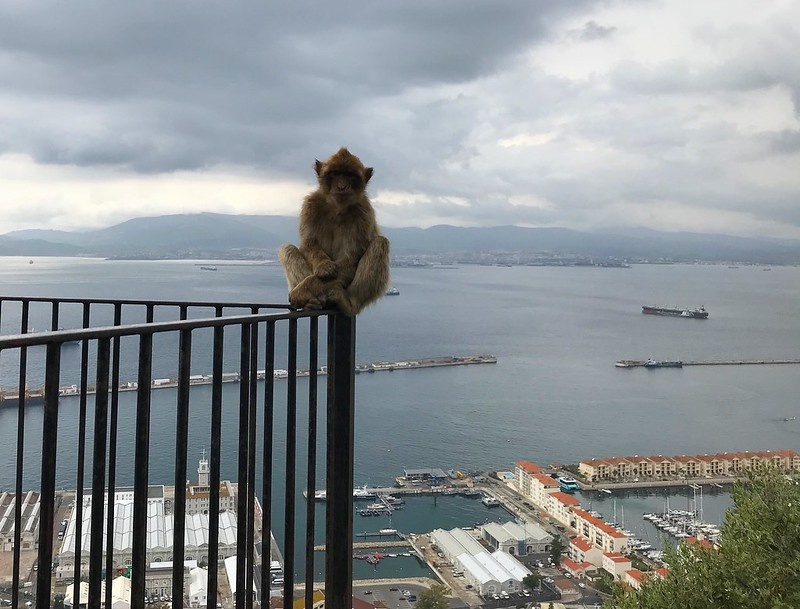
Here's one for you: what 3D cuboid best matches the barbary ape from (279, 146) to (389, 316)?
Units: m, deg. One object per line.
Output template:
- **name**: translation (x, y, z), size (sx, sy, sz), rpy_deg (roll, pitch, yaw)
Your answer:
- **barbary ape**: translation (-0.677, -0.774, 8.548), size (1.154, 1.701, 0.853), rpy_deg (1, 8, -2)
